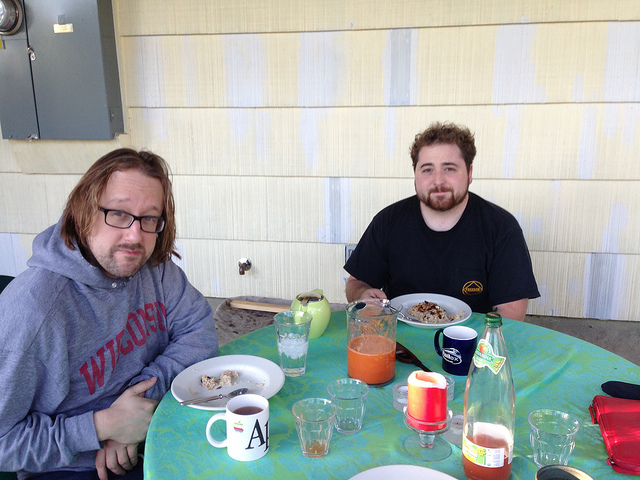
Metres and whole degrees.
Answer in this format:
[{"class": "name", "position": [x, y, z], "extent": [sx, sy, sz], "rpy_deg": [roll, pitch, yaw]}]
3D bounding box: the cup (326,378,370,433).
[{"class": "cup", "position": [0.071, 0.415, 1.127], "extent": [0.106, 0.096, 0.109], "rpy_deg": [-3, -8, 0]}]

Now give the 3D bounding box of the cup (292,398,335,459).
[{"class": "cup", "position": [-0.012, 0.442, 1.044], "extent": [0.105, 0.105, 0.108], "rpy_deg": [-1, -1, 0]}]

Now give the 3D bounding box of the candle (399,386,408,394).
[{"class": "candle", "position": [0.229, 0.412, 1.214], "extent": [0.022, 0.011, 0.045], "rpy_deg": [0, 15, 5]}]

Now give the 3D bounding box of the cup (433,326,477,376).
[{"class": "cup", "position": [0.402, 0.334, 1.342], "extent": [0.130, 0.123, 0.087], "rpy_deg": [8, 16, 31]}]

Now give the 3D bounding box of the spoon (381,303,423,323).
[{"class": "spoon", "position": [0.279, 0.249, 1.493], "extent": [0.162, 0.029, 0.027], "rpy_deg": [30, 64, 15]}]

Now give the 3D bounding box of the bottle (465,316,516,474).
[{"class": "bottle", "position": [0.376, 0.336, 0.968], "extent": [0.108, 0.343, 0.148], "rpy_deg": [5, 16, 24]}]

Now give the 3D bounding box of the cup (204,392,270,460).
[{"class": "cup", "position": [-0.199, 0.456, 1.045], "extent": [0.143, 0.110, 0.094], "rpy_deg": [3, -5, -19]}]

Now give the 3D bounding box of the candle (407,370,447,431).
[{"class": "candle", "position": [0.248, 0.363, 1.020], "extent": [0.084, 0.100, 0.059], "rpy_deg": [1, 15, 11]}]

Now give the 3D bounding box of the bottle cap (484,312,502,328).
[{"class": "bottle cap", "position": [0.374, 0.173, 0.949], "extent": [0.031, 0.022, 0.033], "rpy_deg": [-4, 10, -12]}]

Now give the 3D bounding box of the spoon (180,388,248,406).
[{"class": "spoon", "position": [-0.284, 0.421, 1.177], "extent": [0.169, 0.021, 0.033], "rpy_deg": [-12, 22, -20]}]

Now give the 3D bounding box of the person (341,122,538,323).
[{"class": "person", "position": [0.614, -0.008, 2.403], "extent": [1.112, 1.011, 0.847], "rpy_deg": [5, 16, 24]}]
